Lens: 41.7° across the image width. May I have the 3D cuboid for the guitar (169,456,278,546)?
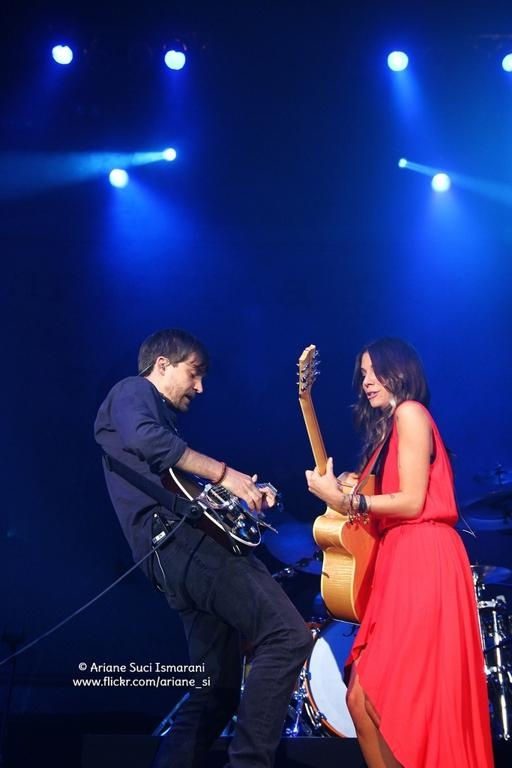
[{"bbox_3d":[-0.145,0.537,2.863,0.077,0.523,0.270,-52,-14,-1],"label":"guitar"}]

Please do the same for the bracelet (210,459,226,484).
[{"bbox_3d":[-0.159,0.390,2.996,0.034,0.079,0.072,14,-22,-18],"label":"bracelet"}]
